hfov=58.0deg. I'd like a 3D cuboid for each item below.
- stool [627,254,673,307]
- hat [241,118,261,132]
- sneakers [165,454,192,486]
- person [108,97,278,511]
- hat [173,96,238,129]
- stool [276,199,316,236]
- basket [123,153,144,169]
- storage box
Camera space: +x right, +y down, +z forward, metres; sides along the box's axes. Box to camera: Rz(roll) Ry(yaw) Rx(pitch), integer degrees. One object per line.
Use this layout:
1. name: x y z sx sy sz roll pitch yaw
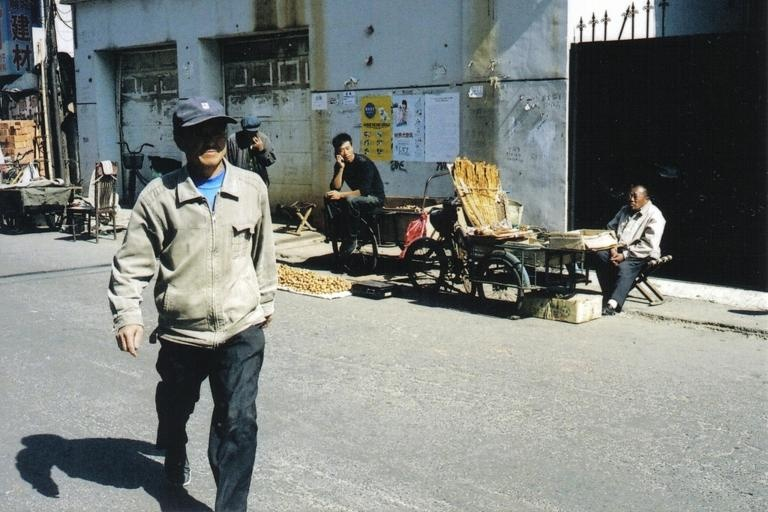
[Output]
1. stool: 3.813 0.339 10.280 0.629 0.663 0.493 -7 7 -43
2. hat: -2.270 -2.201 11.668 0.310 0.192 0.441 -13 31 -17
3. sneakers: -1.693 1.768 5.710 0.121 0.140 0.332 1 -4 -28
4. person: -1.446 0.391 5.358 1.054 3.181 0.859 1 8 9
5. hat: -1.437 -1.092 5.278 0.386 0.149 0.282 6 11 41
6. stool: -1.968 -0.889 15.665 0.761 0.716 0.795 0 3 -33
7. basket: -6.817 -2.562 18.974 0.626 0.498 0.429 0 -2 10
8. storage box: 2.555 0.255 9.483 1.220 1.177 0.659 -4 9 -26
